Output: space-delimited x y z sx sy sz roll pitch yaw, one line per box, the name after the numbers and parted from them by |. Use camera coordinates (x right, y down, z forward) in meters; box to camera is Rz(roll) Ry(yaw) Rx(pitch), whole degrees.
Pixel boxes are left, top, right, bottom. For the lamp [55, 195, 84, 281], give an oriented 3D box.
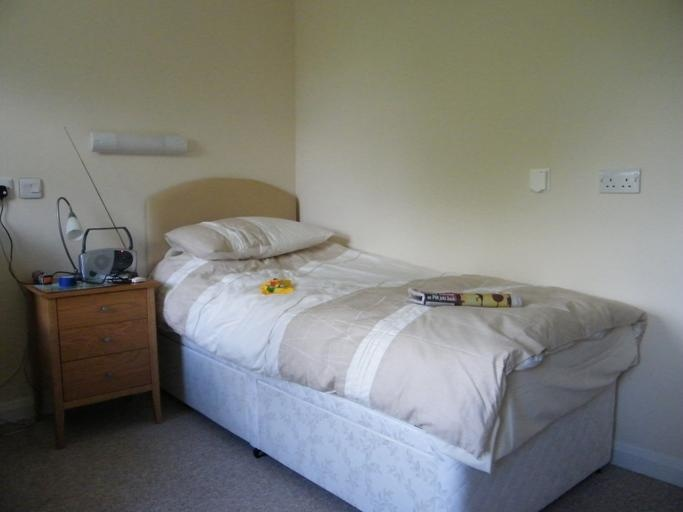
-1.517 -0.095 2.762 0.124 0.453 0.084 -7 2 7 | lamp

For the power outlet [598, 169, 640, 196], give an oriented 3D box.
1.382 -0.324 2.445 0.180 0.131 0.103 2 5 42 | power outlet

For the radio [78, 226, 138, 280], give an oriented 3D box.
-1.338 0.025 2.791 0.236 0.380 0.276 9 8 39 | radio
